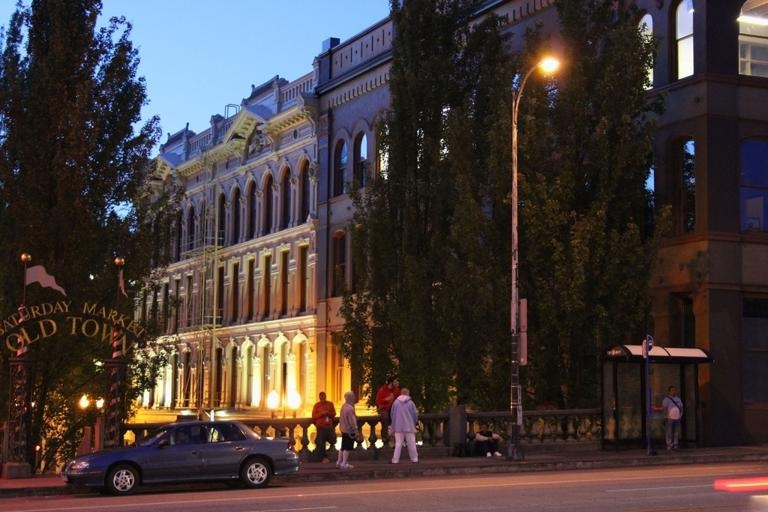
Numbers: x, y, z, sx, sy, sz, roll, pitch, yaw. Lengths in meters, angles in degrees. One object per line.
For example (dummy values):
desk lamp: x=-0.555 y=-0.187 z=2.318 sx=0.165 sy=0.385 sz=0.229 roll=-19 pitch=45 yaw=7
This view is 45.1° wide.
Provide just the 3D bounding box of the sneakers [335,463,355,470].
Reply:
sneakers: x=-1.122 y=6.298 z=27.726 sx=0.509 sy=0.217 sz=0.187 roll=1 pitch=-4 yaw=-19

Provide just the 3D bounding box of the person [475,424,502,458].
person: x=3.437 y=6.091 z=30.664 sx=0.717 sy=1.015 sz=0.862 roll=-2 pitch=-5 yaw=-30
